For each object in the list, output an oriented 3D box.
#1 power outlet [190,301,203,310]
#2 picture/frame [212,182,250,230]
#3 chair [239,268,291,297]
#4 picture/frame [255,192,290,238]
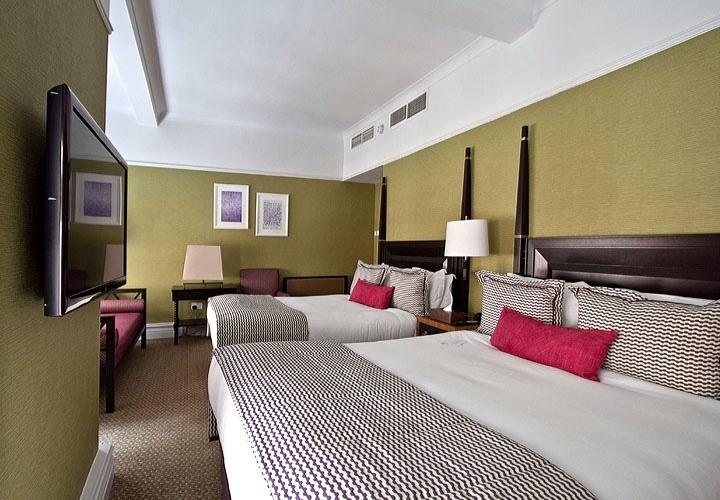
[{"bbox_3d":[-2.406,0.812,6.163,0.183,0.125,0.095,1,2,-12],"label":"power outlet"},{"bbox_3d":[-1.983,-0.696,6.352,0.694,0.911,0.062,-2,4,-21],"label":"picture/frame"},{"bbox_3d":[-1.456,0.468,6.391,0.477,0.655,0.540,2,-5,-20],"label":"chair"},{"bbox_3d":[-1.405,-0.587,6.576,0.709,0.937,0.063,-2,4,-27],"label":"picture/frame"}]
